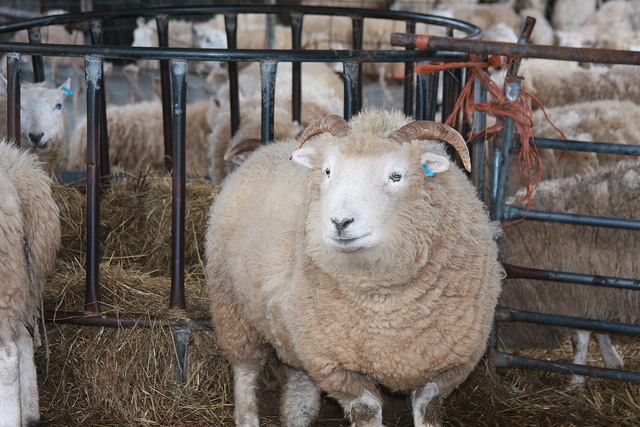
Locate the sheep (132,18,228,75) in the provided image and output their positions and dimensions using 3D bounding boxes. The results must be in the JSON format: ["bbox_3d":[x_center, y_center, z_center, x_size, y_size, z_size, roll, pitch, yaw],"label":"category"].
[{"bbox_3d":[-2.122,-2.631,17.143,1.524,0.867,2.088,4,6,-13],"label":"sheep"}]

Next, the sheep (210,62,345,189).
[{"bbox_3d":[-0.463,-1.152,12.166,1.083,0.961,1.972,14,25,23],"label":"sheep"}]

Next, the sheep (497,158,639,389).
[{"bbox_3d":[2.169,0.495,9.801,1.257,1.799,0.680,9,16,10],"label":"sheep"}]

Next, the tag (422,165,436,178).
[{"bbox_3d":[0.846,-0.320,8.874,0.090,0.034,0.068,41,-4,11],"label":"tag"}]
